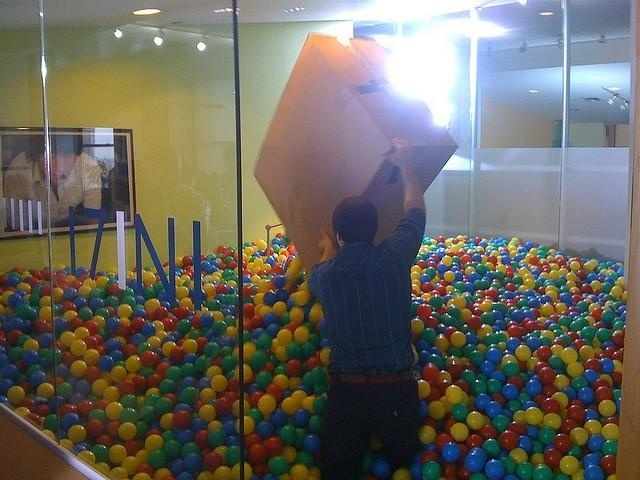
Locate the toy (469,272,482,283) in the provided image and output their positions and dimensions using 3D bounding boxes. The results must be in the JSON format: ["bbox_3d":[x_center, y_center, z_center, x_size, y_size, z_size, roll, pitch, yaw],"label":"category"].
[{"bbox_3d":[1.007,0.240,3.426,0.053,0.073,0.058,0,2,1],"label":"toy"}]

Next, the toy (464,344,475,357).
[{"bbox_3d":[0.723,0.536,2.562,0.045,0.062,0.049,7,11,8],"label":"toy"}]

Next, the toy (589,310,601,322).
[{"bbox_3d":[1.599,0.447,3.091,0.056,0.076,0.060,1,-10,-9],"label":"toy"}]

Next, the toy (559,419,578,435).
[{"bbox_3d":[1.073,0.806,2.282,0.052,0.058,0.055,-4,-11,-18],"label":"toy"}]

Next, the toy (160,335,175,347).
[{"bbox_3d":[-0.623,0.404,2.152,0.040,0.048,0.043,14,6,42],"label":"toy"}]

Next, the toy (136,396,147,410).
[{"bbox_3d":[-0.752,0.684,2.214,0.043,0.058,0.043,5,-16,-35],"label":"toy"}]

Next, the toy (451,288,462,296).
[{"bbox_3d":[0.787,0.306,3.034,0.060,0.051,0.066,-1,7,-4],"label":"toy"}]

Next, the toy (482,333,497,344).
[{"bbox_3d":[0.844,0.496,2.629,0.043,0.058,0.048,3,26,7],"label":"toy"}]

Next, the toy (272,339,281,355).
[{"bbox_3d":[-0.204,0.487,2.412,0.041,0.056,0.044,-2,1,-18],"label":"toy"}]

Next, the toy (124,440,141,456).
[{"bbox_3d":[-0.770,0.852,2.167,0.048,0.067,0.052,8,6,-18],"label":"toy"}]

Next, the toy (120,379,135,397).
[{"bbox_3d":[-0.825,0.630,2.248,0.052,0.069,0.059,-2,33,2],"label":"toy"}]

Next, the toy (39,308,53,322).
[{"bbox_3d":[-1.352,0.362,2.598,0.065,0.091,0.069,1,-7,-18],"label":"toy"}]

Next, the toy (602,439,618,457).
[{"bbox_3d":[1.202,0.862,2.192,0.051,0.054,0.058,3,6,35],"label":"toy"}]

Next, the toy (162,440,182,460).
[{"bbox_3d":[-0.598,0.845,2.128,0.068,0.090,0.069,2,-4,-32],"label":"toy"}]

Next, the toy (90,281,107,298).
[{"bbox_3d":[-0.970,0.210,2.304,0.066,0.068,0.073,2,7,-27],"label":"toy"}]

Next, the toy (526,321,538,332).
[{"bbox_3d":[1.115,0.458,2.795,0.046,0.064,0.051,0,-3,4],"label":"toy"}]

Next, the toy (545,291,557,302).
[{"bbox_3d":[1.450,0.359,3.313,0.055,0.054,0.071,1,17,8],"label":"toy"}]

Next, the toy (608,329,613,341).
[{"bbox_3d":[1.561,0.508,2.831,0.019,0.061,0.025,1,0,34],"label":"toy"}]

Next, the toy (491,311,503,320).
[{"bbox_3d":[0.963,0.408,2.879,0.036,0.041,0.050,10,5,-36],"label":"toy"}]

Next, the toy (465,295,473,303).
[{"bbox_3d":[0.840,0.335,2.986,0.039,0.047,0.043,-5,17,7],"label":"toy"}]

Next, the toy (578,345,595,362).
[{"bbox_3d":[1.327,0.565,2.631,0.063,0.085,0.068,-1,-8,-10],"label":"toy"}]

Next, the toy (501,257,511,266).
[{"bbox_3d":[1.384,0.154,3.933,0.055,0.069,0.054,-25,20,-28],"label":"toy"}]

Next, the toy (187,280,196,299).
[{"bbox_3d":[-0.479,0.184,1.966,0.035,0.044,0.040,9,15,30],"label":"toy"}]

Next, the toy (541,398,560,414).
[{"bbox_3d":[1.031,0.746,2.356,0.074,0.062,0.065,1,5,20],"label":"toy"}]

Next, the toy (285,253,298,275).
[{"bbox_3d":[-0.147,0.115,2.777,0.066,0.077,0.069,6,-6,-17],"label":"toy"}]

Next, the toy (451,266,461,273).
[{"bbox_3d":[0.913,0.194,3.542,0.036,0.048,0.037,-3,3,-31],"label":"toy"}]

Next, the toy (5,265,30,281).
[{"bbox_3d":[-1.572,0.171,2.747,0.046,0.051,0.056,27,-42,-21],"label":"toy"}]

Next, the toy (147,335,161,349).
[{"bbox_3d":[-0.691,0.426,2.196,0.047,0.067,0.051,-6,-10,9],"label":"toy"}]

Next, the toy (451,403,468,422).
[{"bbox_3d":[0.608,0.752,2.301,0.058,0.079,0.064,2,2,11],"label":"toy"}]

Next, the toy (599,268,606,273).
[{"bbox_3d":[2.072,0.223,3.878,0.032,0.032,0.029,8,-11,5],"label":"toy"}]

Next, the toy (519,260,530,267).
[{"bbox_3d":[1.541,0.175,4.013,0.051,0.058,0.041,5,-24,26],"label":"toy"}]

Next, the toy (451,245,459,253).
[{"bbox_3d":[1.072,0.068,4.201,0.064,0.087,0.070,3,5,6],"label":"toy"}]

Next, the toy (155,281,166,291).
[{"bbox_3d":[-0.618,0.176,2.033,0.029,0.039,0.032,2,10,-3],"label":"toy"}]

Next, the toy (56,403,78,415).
[{"bbox_3d":[-1.136,0.760,2.371,0.047,0.056,0.063,0,-39,-1],"label":"toy"}]

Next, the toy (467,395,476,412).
[{"bbox_3d":[0.686,0.739,2.396,0.045,0.060,0.045,-7,6,-38],"label":"toy"}]

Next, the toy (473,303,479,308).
[{"bbox_3d":[0.864,0.362,2.934,0.027,0.023,0.028,-14,16,-23],"label":"toy"}]

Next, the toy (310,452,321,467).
[{"bbox_3d":[-0.020,0.894,2.162,0.037,0.059,0.043,6,8,18],"label":"toy"}]

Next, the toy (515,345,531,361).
[{"bbox_3d":[0.992,0.556,2.585,0.062,0.086,0.068,0,10,-1],"label":"toy"}]

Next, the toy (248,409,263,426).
[{"bbox_3d":[-0.270,0.722,2.158,0.054,0.067,0.070,-10,-19,4],"label":"toy"}]

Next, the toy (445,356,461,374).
[{"bbox_3d":[0.624,0.588,2.462,0.057,0.090,0.061,-4,-12,19],"label":"toy"}]

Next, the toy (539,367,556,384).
[{"bbox_3d":[1.062,0.634,2.470,0.062,0.084,0.064,1,-2,-15],"label":"toy"}]

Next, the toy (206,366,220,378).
[{"bbox_3d":[-0.404,0.495,1.993,0.042,0.043,0.039,-18,1,24],"label":"toy"}]

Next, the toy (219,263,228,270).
[{"bbox_3d":[-0.345,0.093,1.878,0.021,0.029,0.023,11,13,6],"label":"toy"}]

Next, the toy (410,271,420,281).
[{"bbox_3d":[0.585,0.220,3.230,0.043,0.068,0.063,4,-5,2],"label":"toy"}]

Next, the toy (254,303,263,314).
[{"bbox_3d":[-0.295,0.328,2.546,0.033,0.046,0.036,6,12,16],"label":"toy"}]

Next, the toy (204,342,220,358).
[{"bbox_3d":[-0.403,0.407,1.962,0.038,0.050,0.043,13,41,-4],"label":"toy"}]

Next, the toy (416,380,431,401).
[{"bbox_3d":[0.450,0.650,2.293,0.074,0.101,0.080,-1,4,10],"label":"toy"}]

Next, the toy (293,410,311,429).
[{"bbox_3d":[-0.079,0.755,2.225,0.058,0.077,0.060,2,2,39],"label":"toy"}]

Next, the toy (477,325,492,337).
[{"bbox_3d":[0.833,0.461,2.679,0.051,0.069,0.055,-1,-11,-8],"label":"toy"}]

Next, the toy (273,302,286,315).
[{"bbox_3d":[-0.199,0.333,2.558,0.052,0.065,0.054,27,-21,-1],"label":"toy"}]

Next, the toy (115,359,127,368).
[{"bbox_3d":[-0.868,0.536,2.294,0.036,0.034,0.031,-19,6,45],"label":"toy"}]

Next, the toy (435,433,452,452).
[{"bbox_3d":[0.517,0.846,2.208,0.051,0.061,0.063,13,-24,-26],"label":"toy"}]

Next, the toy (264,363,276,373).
[{"bbox_3d":[-0.224,0.569,2.359,0.037,0.050,0.040,-1,8,-23],"label":"toy"}]

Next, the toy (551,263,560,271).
[{"bbox_3d":[1.733,0.199,3.909,0.042,0.051,0.058,11,-1,-34],"label":"toy"}]

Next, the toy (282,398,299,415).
[{"bbox_3d":[-0.127,0.707,2.258,0.057,0.079,0.062,2,1,-8],"label":"toy"}]

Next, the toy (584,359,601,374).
[{"bbox_3d":[1.323,0.608,2.557,0.056,0.075,0.063,-3,32,4],"label":"toy"}]

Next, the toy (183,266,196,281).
[{"bbox_3d":[-0.483,0.121,1.944,0.047,0.056,0.025,3,6,35],"label":"toy"}]
